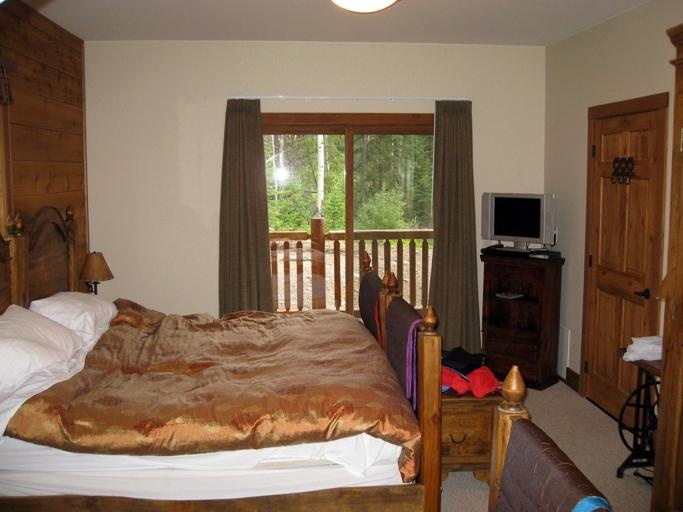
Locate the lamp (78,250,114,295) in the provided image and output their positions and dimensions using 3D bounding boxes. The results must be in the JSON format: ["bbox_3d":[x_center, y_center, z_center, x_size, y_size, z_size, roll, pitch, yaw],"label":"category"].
[{"bbox_3d":[-2.293,0.158,5.139,0.260,0.366,0.264,2,4,-9],"label":"lamp"}]

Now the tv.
[{"bbox_3d":[1.751,-0.351,5.454,0.526,0.442,0.173,2,5,36],"label":"tv"}]

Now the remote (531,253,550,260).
[{"bbox_3d":[1.891,-0.001,5.263,0.163,0.050,0.062,4,7,36],"label":"remote"}]

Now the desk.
[{"bbox_3d":[0.847,1.187,3.983,0.638,0.669,0.493,-1,2,5],"label":"desk"}]

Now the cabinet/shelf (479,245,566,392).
[{"bbox_3d":[1.730,0.588,5.523,0.664,1.290,0.399,4,12,32],"label":"cabinet/shelf"}]
